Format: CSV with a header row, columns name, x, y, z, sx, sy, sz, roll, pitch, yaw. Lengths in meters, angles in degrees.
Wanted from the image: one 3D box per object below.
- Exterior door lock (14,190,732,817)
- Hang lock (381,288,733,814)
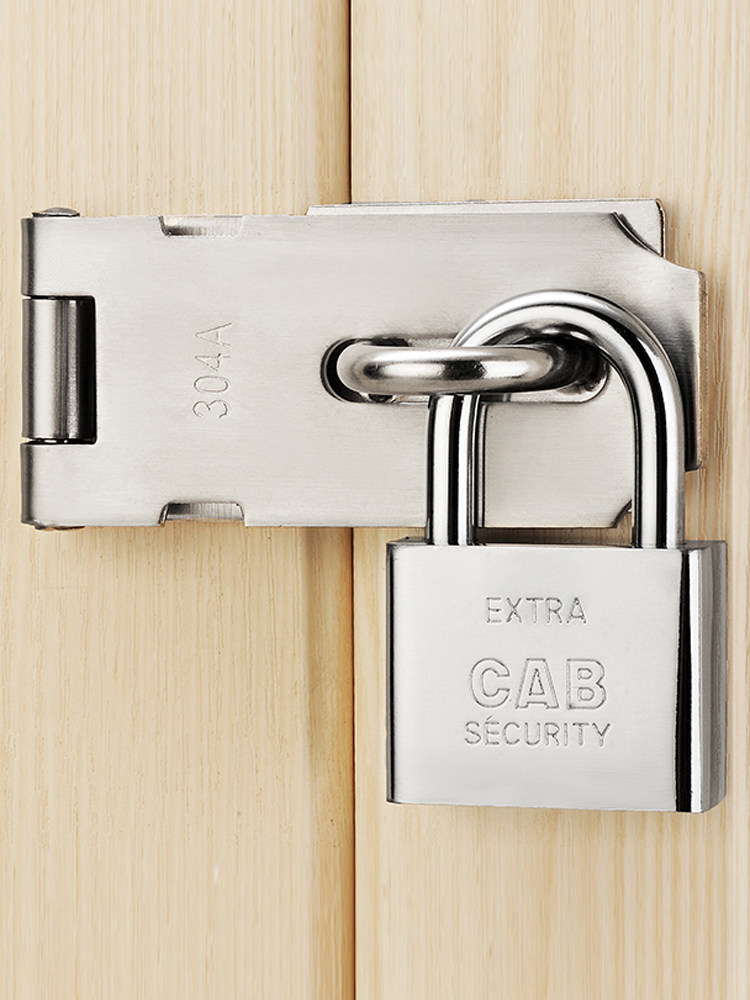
name,x,y,z,sx,sy,sz,roll,pitch,yaw
Exterior door lock,0.012,-0.004,0.672,0.263,0.253,0.039,0,1,7
Hang lock,0.078,0.022,0.651,0.235,0.233,0.039,0,1,10
